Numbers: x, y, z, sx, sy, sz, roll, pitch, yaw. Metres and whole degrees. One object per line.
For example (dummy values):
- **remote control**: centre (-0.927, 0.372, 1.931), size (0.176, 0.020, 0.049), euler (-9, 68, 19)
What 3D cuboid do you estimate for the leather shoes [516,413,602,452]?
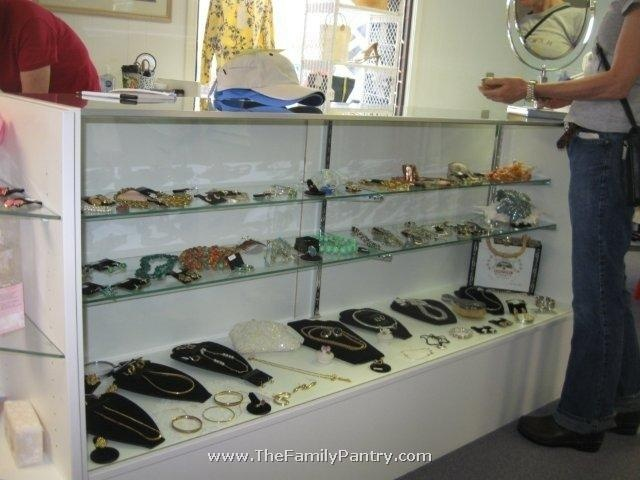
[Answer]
- **leather shoes**: centre (1.238, 1.013, 2.603), size (0.461, 0.164, 0.164), euler (8, 17, 11)

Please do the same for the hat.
- **hat**: centre (-0.208, -0.606, 1.847), size (0.417, 0.168, 0.248), euler (8, 16, 20)
